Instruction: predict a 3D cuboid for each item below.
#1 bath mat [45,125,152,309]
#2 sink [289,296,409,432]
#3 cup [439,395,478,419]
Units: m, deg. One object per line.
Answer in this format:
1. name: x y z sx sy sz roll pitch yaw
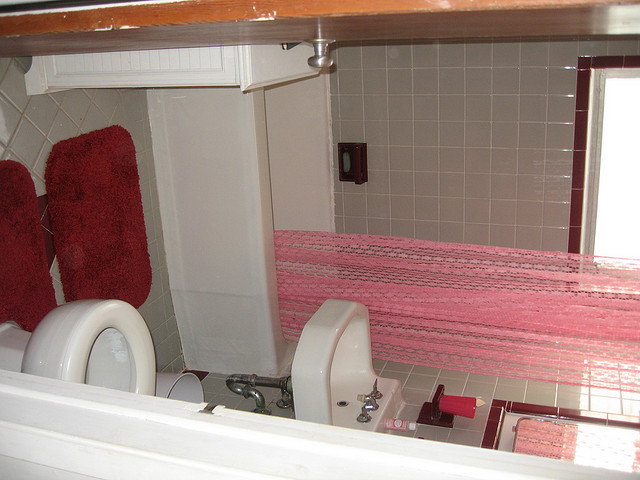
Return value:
1. bath mat: -0.922 -0.094 1.941 0.187 0.757 0.565 1 8 20
2. sink: 0.111 0.462 1.591 0.269 0.472 0.402 10 28 22
3. cup: 0.552 0.659 1.875 0.136 0.088 0.172 -1 -5 20
